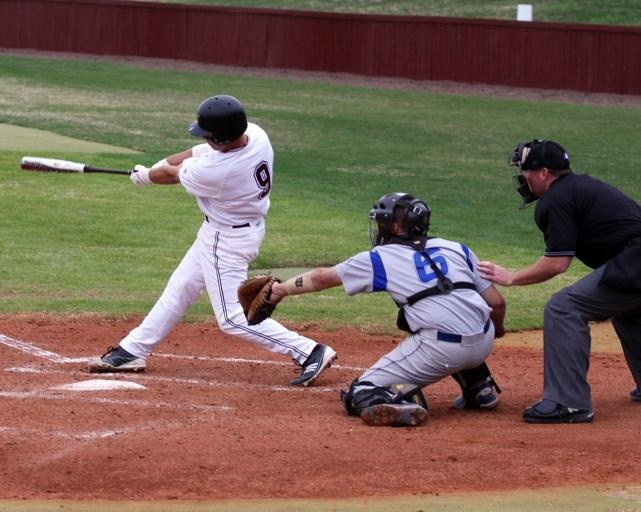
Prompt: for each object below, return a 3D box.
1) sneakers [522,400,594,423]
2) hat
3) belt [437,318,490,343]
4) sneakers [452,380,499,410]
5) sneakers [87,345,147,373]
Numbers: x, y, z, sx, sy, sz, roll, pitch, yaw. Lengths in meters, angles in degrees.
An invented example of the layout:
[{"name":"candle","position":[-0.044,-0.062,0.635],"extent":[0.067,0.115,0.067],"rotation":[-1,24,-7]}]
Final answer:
[{"name":"sneakers","position":[2.335,1.508,12.940],"extent":[0.686,0.205,0.237],"rotation":[3,0,6]},{"name":"hat","position":[2.266,-0.809,13.205],"extent":[0.735,0.655,0.600],"rotation":[0,-1,37]},{"name":"belt","position":[1.425,0.734,12.864],"extent":[0.582,0.201,0.114],"rotation":[-2,12,-20]},{"name":"sneakers","position":[1.595,1.413,13.249],"extent":[0.550,0.190,0.218],"rotation":[1,4,36]},{"name":"sneakers","position":[-2.165,1.099,13.989],"extent":[0.622,0.228,0.254],"rotation":[3,-2,-11]}]
